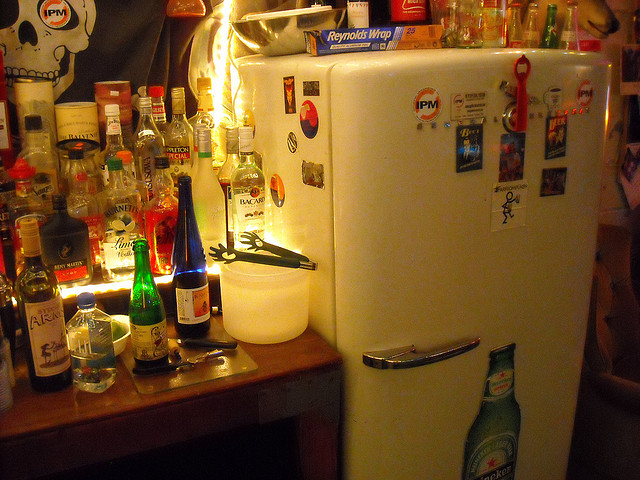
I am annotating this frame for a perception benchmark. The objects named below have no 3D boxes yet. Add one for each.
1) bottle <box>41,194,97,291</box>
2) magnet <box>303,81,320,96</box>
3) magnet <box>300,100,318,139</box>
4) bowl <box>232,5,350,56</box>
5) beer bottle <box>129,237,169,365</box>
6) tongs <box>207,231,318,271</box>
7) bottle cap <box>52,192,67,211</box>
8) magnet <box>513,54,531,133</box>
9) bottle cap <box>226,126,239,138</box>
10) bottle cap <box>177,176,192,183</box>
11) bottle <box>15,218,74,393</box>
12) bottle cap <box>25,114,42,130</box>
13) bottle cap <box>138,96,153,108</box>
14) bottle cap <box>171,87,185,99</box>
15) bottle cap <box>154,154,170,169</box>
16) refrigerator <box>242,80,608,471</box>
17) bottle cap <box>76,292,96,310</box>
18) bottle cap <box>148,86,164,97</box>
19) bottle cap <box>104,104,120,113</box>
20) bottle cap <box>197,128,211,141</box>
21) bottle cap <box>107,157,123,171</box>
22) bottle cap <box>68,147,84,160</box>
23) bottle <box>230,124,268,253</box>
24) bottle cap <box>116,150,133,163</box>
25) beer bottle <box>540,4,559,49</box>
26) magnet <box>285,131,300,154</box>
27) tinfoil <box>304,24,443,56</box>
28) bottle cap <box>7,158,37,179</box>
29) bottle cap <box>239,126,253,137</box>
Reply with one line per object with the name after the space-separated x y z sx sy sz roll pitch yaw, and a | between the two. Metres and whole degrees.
-0.734 0.000 1.460 0.127 0.291 0.081 -13 29 -30 | bottle
-0.024 -0.408 1.361 0.008 0.039 0.078 -12 18 -28 | magnet
-0.031 -0.331 1.386 0.015 0.091 0.065 -6 -4 -36 | magnet
-0.097 -0.619 1.520 0.335 0.108 0.151 3 18 26 | bowl
-0.455 0.164 1.368 0.089 0.329 0.097 3 15 -1 | beer bottle
-0.164 0.040 1.532 0.392 0.077 0.184 6 24 39 | tongs
-0.721 -0.105 1.396 0.032 0.044 0.057 -14 18 -31 | bottle cap
0.557 -0.402 1.388 0.073 0.206 0.035 -16 19 -38 | magnet
-0.274 -0.337 1.581 0.035 0.034 0.034 -13 23 -39 | bottle cap
-0.386 -0.172 1.442 0.032 0.022 0.043 -6 16 -6 | bottle cap
-0.706 0.162 1.247 0.129 0.434 0.100 -8 15 -14 | bottle
-0.837 -0.344 1.481 0.042 0.039 0.043 16 18 42 | bottle cap
-0.564 -0.447 1.638 0.041 0.034 0.056 -10 17 -17 | bottle cap
-0.473 -0.492 1.691 0.043 0.043 0.045 1 17 -3 | bottle cap
-0.479 -0.240 1.511 0.054 0.042 0.055 -12 26 -26 | bottle cap
0.408 0.170 1.571 1.017 1.364 0.412 -7 15 -9 | refrigerator
-0.576 0.149 1.246 0.038 0.034 0.040 1 11 -8 | bottle cap
-0.548 -0.488 1.686 0.047 0.034 0.047 -12 20 -42 | bottle cap
-0.644 -0.399 1.547 0.041 0.026 0.042 -4 13 -20 | bottle cap
-0.347 -0.315 1.511 0.033 0.034 0.035 -1 9 -5 | bottle cap
-0.594 -0.219 1.468 0.043 0.037 0.040 -12 17 -25 | bottle cap
-0.726 -0.263 1.505 0.038 0.029 0.039 -10 25 -27 | bottle cap
-0.231 -0.176 1.604 0.104 0.379 0.108 2 27 -1 | bottle
-0.578 -0.250 1.499 0.036 0.025 0.038 3 19 -1 | bottle cap
0.818 -0.757 1.801 0.056 0.148 0.230 2 17 24 | beer bottle
-0.082 -0.286 1.476 0.037 0.061 0.011 -4 4 40 | magnet
0.165 -0.568 1.432 0.405 0.071 0.092 -7 16 -8 | tinfoil
-0.860 -0.209 1.464 0.080 0.057 0.096 -16 19 -35 | bottle cap
-0.222 -0.327 1.521 0.030 0.029 0.031 5 20 14 | bottle cap
